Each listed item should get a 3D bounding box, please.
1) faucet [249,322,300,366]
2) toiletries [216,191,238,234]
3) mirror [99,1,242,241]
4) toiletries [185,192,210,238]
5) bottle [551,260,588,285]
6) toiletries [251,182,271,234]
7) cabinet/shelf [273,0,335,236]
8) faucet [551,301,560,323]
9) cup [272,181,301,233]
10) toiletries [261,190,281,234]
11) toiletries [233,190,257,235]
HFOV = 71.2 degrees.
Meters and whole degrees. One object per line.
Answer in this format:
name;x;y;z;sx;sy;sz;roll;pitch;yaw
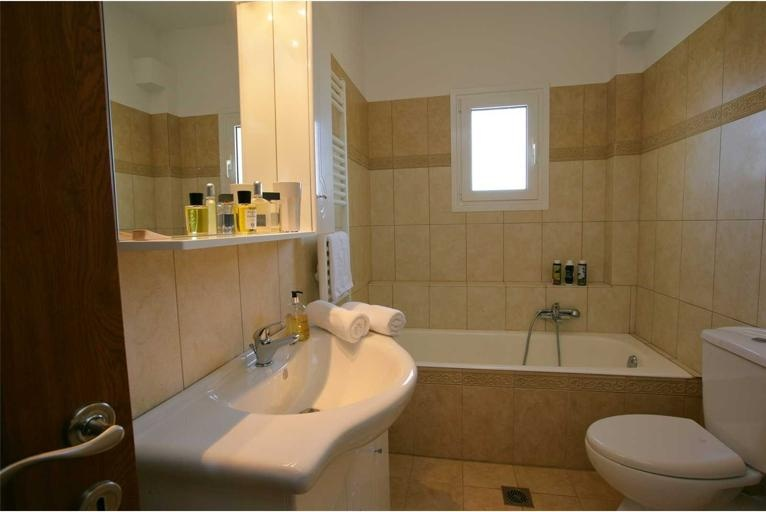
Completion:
faucet;-0.408;0.339;2.049;0.078;0.138;0.250;3;3;28
toiletries;-0.571;-0.159;1.944;0.087;0.154;0.084;-2;28;-17
mirror;-0.704;-0.543;1.880;0.126;0.925;0.666;0;4;12
toiletries;-0.646;-0.143;1.861;0.091;0.150;0.088;-12;22;-42
bottle;1.263;0.109;3.603;0.170;0.132;0.058;0;-4;8
toiletries;-0.496;-0.198;2.151;0.078;0.207;0.087;-4;14;-4
cabinet/shelf;-0.375;-0.651;2.578;0.186;1.062;0.466;-1;5;3
faucet;1.134;0.374;3.517;0.057;0.129;0.103;0;4;17
cup;-0.408;-0.210;2.274;0.130;0.212;0.133;-3;5;0
toiletries;-0.459;-0.178;2.176;0.093;0.168;0.103;1;3;36
toiletries;-0.507;-0.168;2.040;0.066;0.143;0.056;-8;18;-43
